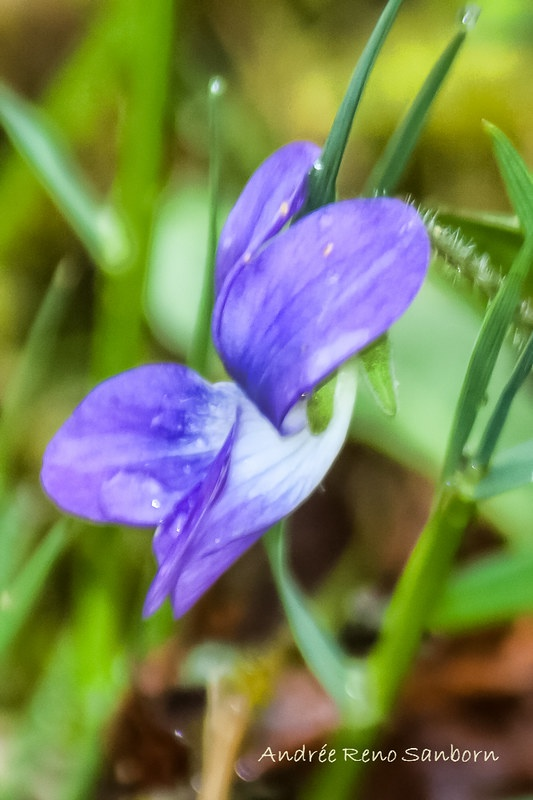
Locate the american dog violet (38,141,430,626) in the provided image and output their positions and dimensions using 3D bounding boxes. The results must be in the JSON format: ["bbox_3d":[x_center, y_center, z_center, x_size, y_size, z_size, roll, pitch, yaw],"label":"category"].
[{"bbox_3d":[-0.028,0.006,0.412,0.240,0.091,0.193,-2,76,28],"label":"american dog violet"}]
